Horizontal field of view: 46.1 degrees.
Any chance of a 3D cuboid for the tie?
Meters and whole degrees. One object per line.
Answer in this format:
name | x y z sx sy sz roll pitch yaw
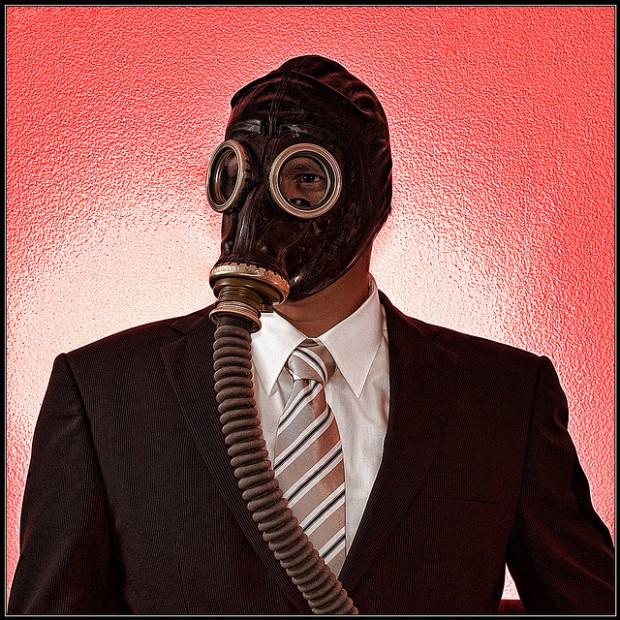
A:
tie | 0.005 0.220 1.138 0.106 0.354 0.079 20 -47 -35
